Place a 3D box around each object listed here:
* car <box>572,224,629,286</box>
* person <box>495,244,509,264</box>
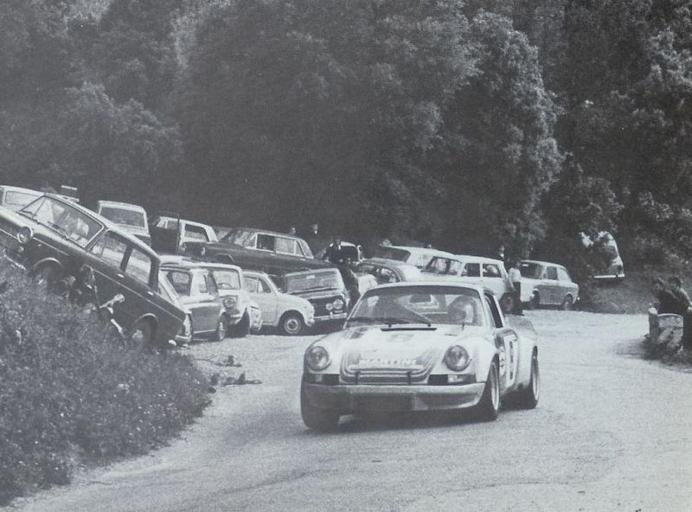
[{"bbox_3d":[13.193,0.032,42.238,0.688,2.677,1.793,15,-17,-42],"label":"car"},{"bbox_3d":[7.149,-0.146,38.318,0.737,0.735,2.159,-3,9,8],"label":"person"}]
